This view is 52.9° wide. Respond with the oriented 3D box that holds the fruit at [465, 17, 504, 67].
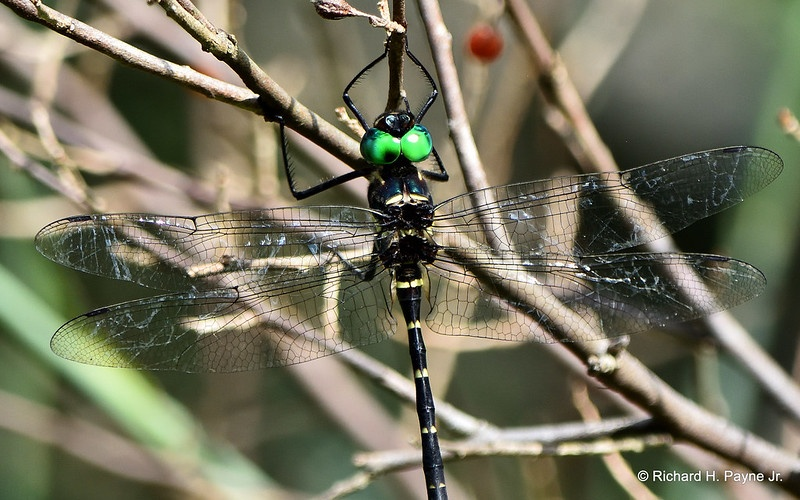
[{"bbox_3d":[0.262,-0.637,2.463,0.130,0.124,0.145,1,-87,13],"label":"fruit"}]
